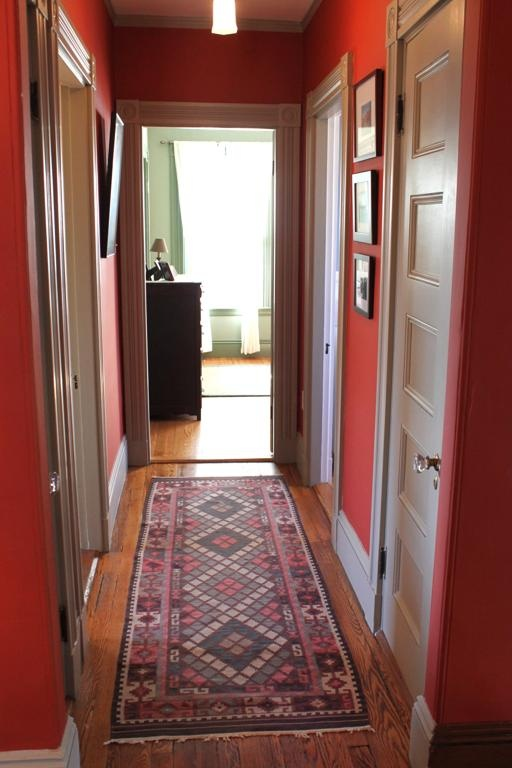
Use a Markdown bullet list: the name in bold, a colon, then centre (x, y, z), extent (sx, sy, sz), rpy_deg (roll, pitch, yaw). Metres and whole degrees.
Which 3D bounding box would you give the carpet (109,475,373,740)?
- **carpet**: centre (-0.099, 1.010, 2.384), extent (0.954, 0.060, 1.517), rpy_deg (-2, 9, -11)
